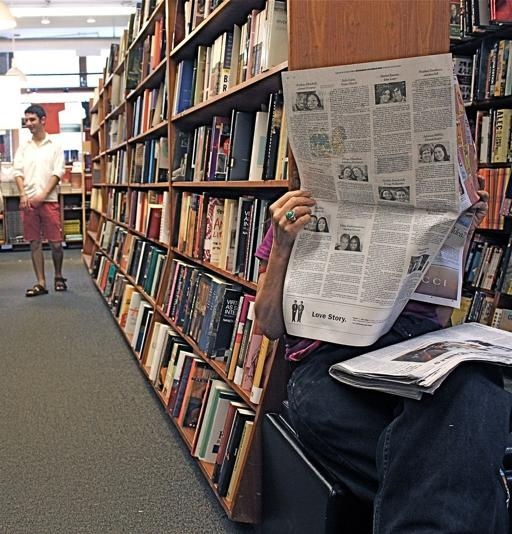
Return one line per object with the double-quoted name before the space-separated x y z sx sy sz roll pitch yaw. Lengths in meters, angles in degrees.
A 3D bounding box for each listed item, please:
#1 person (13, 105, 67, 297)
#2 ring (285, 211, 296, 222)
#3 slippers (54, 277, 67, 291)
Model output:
"person" -2.192 -0.674 4.623 0.478 1.810 0.712 -4 10 -26
"ring" 0.069 -0.102 0.923 0.022 0.014 0.022 29 27 -17
"slippers" -2.001 0.182 4.635 0.086 0.083 0.222 0 -1 -15
